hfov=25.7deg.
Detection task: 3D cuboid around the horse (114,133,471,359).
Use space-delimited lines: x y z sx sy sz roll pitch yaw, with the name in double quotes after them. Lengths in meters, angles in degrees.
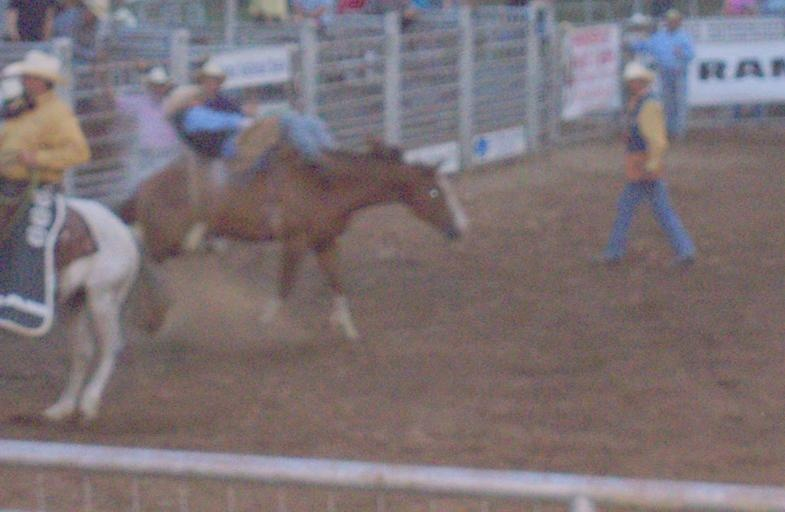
-0.661 -0.139 9.595 2.073 1.391 0.555 5 21 4 "horse"
